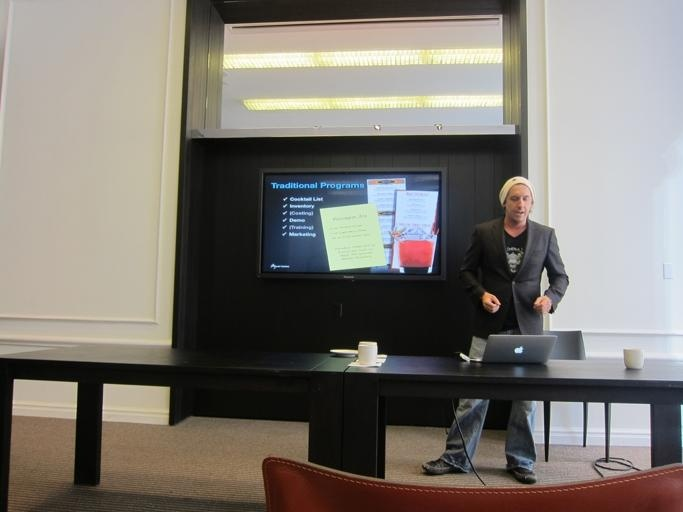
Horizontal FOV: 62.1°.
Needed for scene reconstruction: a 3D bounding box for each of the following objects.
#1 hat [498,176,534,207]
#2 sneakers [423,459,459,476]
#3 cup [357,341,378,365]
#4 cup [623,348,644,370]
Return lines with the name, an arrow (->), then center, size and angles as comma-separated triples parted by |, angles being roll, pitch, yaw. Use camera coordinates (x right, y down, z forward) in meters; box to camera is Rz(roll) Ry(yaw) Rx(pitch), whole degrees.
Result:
hat -> 1.208, -0.436, 3.875 | 0.194, 0.267, 0.250 | 3, -22, 3
sneakers -> 0.665, 1.368, 3.711 | 0.233, 0.096, 0.099 | 5, -13, -3
cup -> 0.135, 0.509, 2.989 | 0.103, 0.101, 0.105 | 1, 2, 0
cup -> 1.536, 0.546, 3.001 | 0.087, 0.090, 0.113 | 1, -5, -27
